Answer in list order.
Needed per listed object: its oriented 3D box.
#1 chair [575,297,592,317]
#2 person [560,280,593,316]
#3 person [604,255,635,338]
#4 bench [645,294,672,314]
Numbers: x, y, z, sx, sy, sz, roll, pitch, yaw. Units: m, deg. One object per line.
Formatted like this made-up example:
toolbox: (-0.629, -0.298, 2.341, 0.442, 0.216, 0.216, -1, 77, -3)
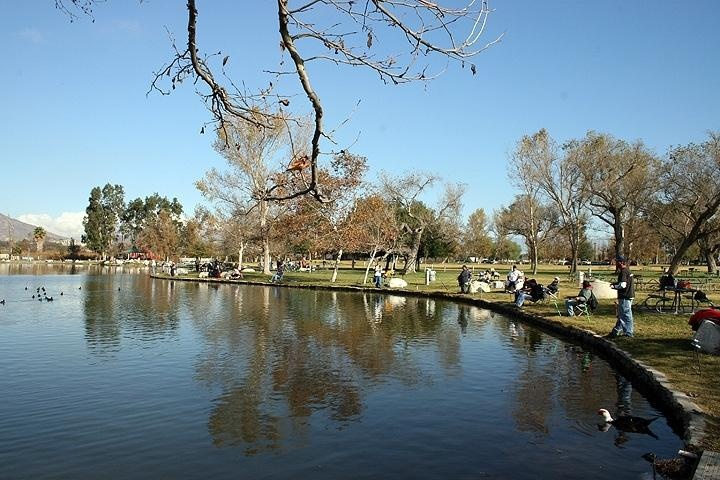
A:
chair: (11.081, 3.279, 26.652, 0.842, 1.133, 0.890, 0, -8, -1)
person: (10.547, 2.831, 25.750, 1.094, 1.865, 1.106, 6, -4, 25)
person: (9.862, 2.148, 20.274, 0.968, 3.014, 1.249, 1, -2, 30)
bench: (15.125, 3.232, 27.184, 1.124, 0.638, 2.673, 0, -4, 21)
